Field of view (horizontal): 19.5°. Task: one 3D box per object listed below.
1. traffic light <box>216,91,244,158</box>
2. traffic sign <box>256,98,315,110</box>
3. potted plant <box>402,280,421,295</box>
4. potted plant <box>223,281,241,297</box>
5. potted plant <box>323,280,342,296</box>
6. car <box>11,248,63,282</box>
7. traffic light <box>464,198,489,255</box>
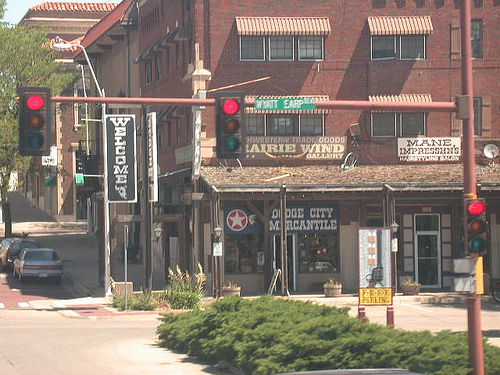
[{"bbox_3d":[-0.791,-2.545,59.605,1.203,2.660,0.271,1,-7,-2],"label":"traffic light"},{"bbox_3d":[1.524,-3.523,60.859,2.541,0.570,0.651,0,-8,5],"label":"traffic sign"},{"bbox_3d":[8.504,5.335,75.747,0.765,0.411,0.703,6,-6,-31],"label":"potted plant"},{"bbox_3d":[-0.938,5.305,74.425,0.946,1.081,1.018,0,-8,-3],"label":"potted plant"},{"bbox_3d":[4.315,5.382,75.414,0.714,0.551,0.837,0,-11,-1],"label":"potted plant"},{"bbox_3d":[-12.287,4.565,83.888,2.365,1.950,4.899,1,1,-16],"label":"car"},{"bbox_3d":[9.105,1.561,57.907,0.675,2.330,1.097,-3,13,3],"label":"traffic light"}]
